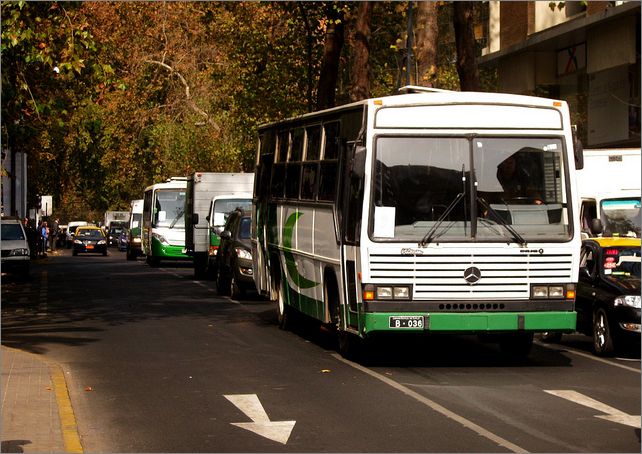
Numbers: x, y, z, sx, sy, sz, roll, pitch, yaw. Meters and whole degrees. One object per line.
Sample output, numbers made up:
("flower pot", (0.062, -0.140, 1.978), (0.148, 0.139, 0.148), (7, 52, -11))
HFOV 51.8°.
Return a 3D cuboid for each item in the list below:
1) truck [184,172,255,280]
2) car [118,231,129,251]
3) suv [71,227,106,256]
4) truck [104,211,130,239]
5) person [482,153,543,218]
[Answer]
("truck", (-4.475, -0.358, 29.021), (2.966, 3.285, 5.153), (0, 2, -10))
("car", (-18.988, 1.391, 63.603), (1.640, 1.489, 2.856), (1, -8, -15))
("suv", (-19.513, 1.253, 55.507), (2.235, 1.566, 3.047), (3, -2, -42))
("truck", (-23.210, -0.144, 75.140), (2.601, 2.507, 4.192), (-1, -7, -8))
("person", (2.868, -0.658, 9.721), (0.894, 0.922, 0.297), (2, -1, -31))
